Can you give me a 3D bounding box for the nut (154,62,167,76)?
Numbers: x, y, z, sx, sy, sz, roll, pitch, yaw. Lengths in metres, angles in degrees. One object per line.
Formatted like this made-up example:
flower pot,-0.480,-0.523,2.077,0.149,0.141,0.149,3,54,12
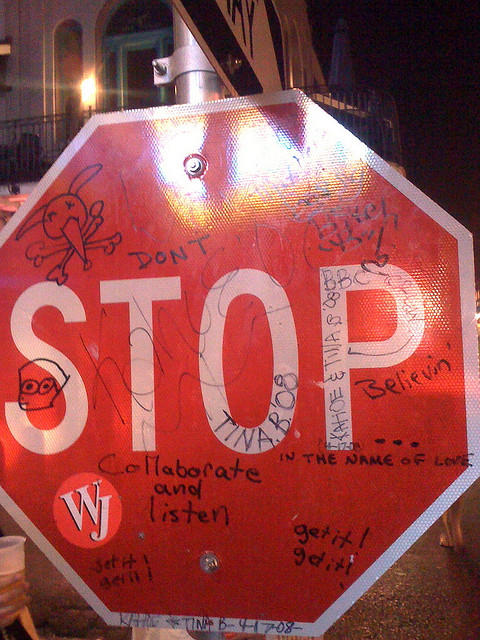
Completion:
nut,-0.189,-0.609,1.997,0.023,0.027,0.019,31,19,1
